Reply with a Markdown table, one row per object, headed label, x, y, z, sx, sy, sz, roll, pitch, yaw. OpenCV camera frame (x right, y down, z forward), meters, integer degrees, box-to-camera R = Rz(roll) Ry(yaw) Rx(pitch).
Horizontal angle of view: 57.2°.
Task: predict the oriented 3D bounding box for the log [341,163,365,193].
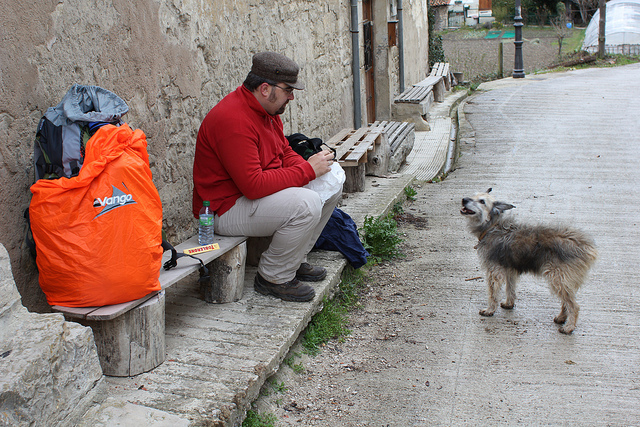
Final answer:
| label | x | y | z | sx | sy | sz | roll | pitch | yaw |
| --- | --- | --- | --- | --- | --- | --- | --- | --- | --- |
| log | 0.498 | -0.525 | 8.551 | 0.354 | 0.453 | 0.338 | -7 | 18 | -6 |

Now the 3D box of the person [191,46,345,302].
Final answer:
| label | x | y | z | sx | sy | sz | roll | pitch | yaw |
| --- | --- | --- | --- | --- | --- | --- | --- | --- | --- |
| person | -0.493 | -0.304 | 5.404 | 1.384 | 2.256 | 0.806 | -9 | 18 | -13 |

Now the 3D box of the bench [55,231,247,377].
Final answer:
| label | x | y | z | sx | sy | sz | roll | pitch | yaw |
| --- | --- | --- | --- | --- | --- | --- | --- | --- | --- |
| bench | -1.300 | 0.683 | 4.805 | 0.524 | 0.784 | 1.629 | 6 | 20 | 30 |

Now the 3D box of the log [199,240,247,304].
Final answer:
| label | x | y | z | sx | sy | sz | roll | pitch | yaw |
| --- | --- | --- | --- | --- | --- | --- | --- | --- | --- |
| log | -0.917 | 0.517 | 5.487 | 0.428 | 0.501 | 0.453 | 17 | 17 | 22 |

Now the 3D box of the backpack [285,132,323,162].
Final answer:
| label | x | y | z | sx | sy | sz | roll | pitch | yaw |
| --- | --- | --- | --- | --- | --- | --- | --- | --- | --- |
| backpack | -0.177 | -0.785 | 6.283 | 0.366 | 0.156 | 0.361 | 21 | 37 | 28 |

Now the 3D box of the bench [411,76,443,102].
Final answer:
| label | x | y | z | sx | sy | sz | roll | pitch | yaw |
| --- | --- | --- | --- | --- | --- | --- | --- | --- | --- |
| bench | 3.023 | -3.498 | 16.505 | 0.481 | 0.388 | 1.626 | 8 | 31 | 21 |

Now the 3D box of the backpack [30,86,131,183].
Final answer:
| label | x | y | z | sx | sy | sz | roll | pitch | yaw |
| --- | --- | --- | --- | --- | --- | --- | --- | --- | --- |
| backpack | -1.867 | -0.597 | 4.582 | 0.427 | 0.766 | 0.723 | 32 | 28 | 34 |

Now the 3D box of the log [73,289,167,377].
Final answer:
| label | x | y | z | sx | sy | sz | roll | pitch | yaw |
| --- | --- | --- | --- | --- | --- | --- | --- | --- | --- |
| log | -1.517 | 0.936 | 4.691 | 0.531 | 0.517 | 0.678 | 1 | 4 | 10 |
